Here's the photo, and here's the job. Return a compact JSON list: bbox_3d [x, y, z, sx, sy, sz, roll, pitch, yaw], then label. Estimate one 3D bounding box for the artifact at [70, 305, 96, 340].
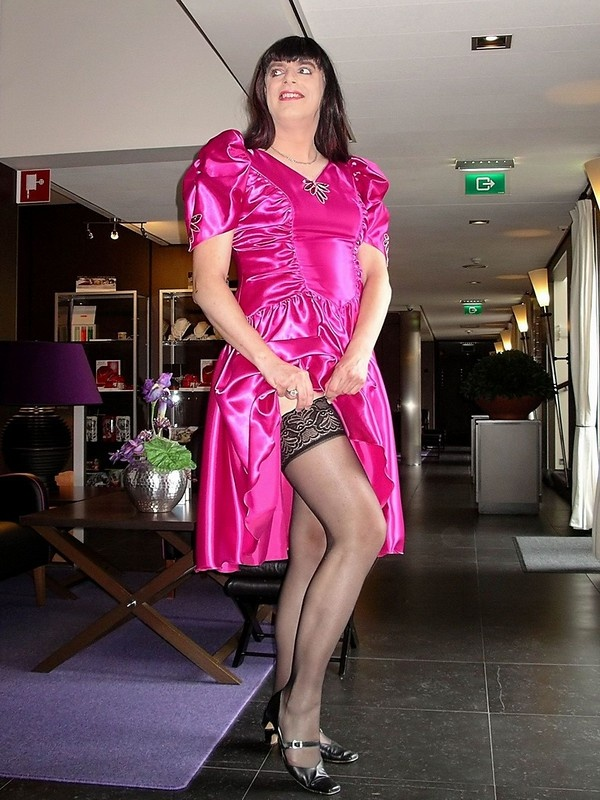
[{"bbox_3d":[-2.272,-0.813,6.769,0.263,0.406,0.075,0,-9,0],"label":"artifact"}]
